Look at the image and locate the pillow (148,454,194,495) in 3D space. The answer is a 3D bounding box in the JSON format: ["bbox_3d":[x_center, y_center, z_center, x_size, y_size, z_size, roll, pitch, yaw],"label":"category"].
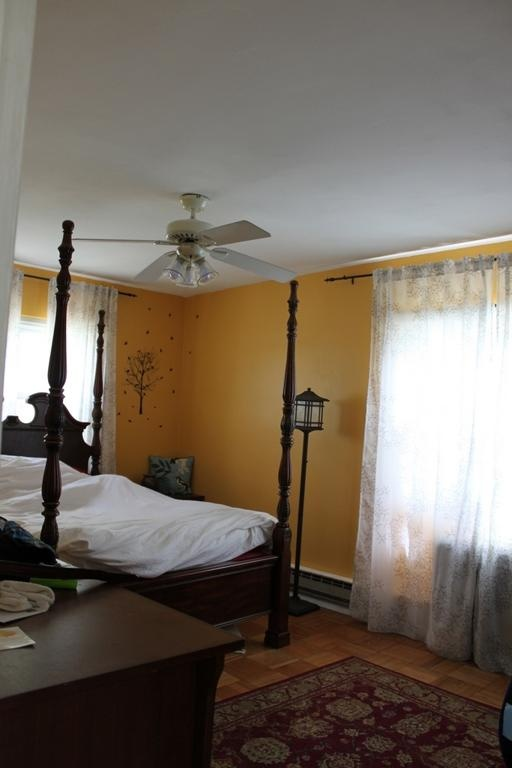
[{"bbox_3d":[-0.770,0.816,5.246,0.346,0.342,0.127,4,-21,-14],"label":"pillow"}]

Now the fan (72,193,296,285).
[{"bbox_3d":[-0.194,-0.596,2.651,0.697,0.268,0.689,-1,3,-43],"label":"fan"}]

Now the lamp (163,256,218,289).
[{"bbox_3d":[-0.301,-0.498,2.703,0.178,0.185,0.165,8,-11,-37],"label":"lamp"}]
